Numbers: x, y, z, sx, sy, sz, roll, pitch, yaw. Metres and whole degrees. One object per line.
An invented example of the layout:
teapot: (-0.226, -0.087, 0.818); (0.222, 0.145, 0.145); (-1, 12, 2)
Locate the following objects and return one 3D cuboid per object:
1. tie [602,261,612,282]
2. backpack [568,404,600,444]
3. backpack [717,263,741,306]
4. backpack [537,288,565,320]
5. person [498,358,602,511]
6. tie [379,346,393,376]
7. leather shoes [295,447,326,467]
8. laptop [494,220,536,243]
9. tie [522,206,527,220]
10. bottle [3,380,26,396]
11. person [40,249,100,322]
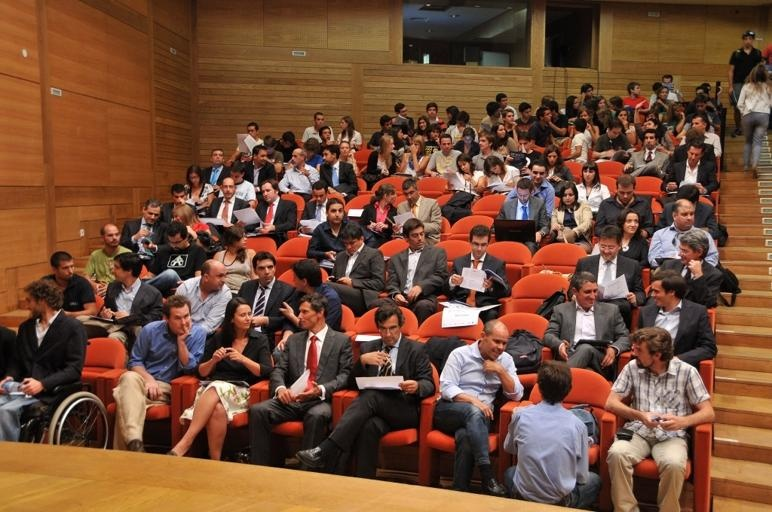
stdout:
tie: (2.349, 0.173, 6.666); (0.124, 0.210, 0.051); (2, -13, 26)
backpack: (1.669, 1.393, 5.175); (0.257, 0.341, 0.343); (-4, -7, 6)
backpack: (3.872, 0.343, 7.080); (0.307, 0.421, 0.154); (34, -31, -17)
backpack: (1.690, 0.491, 6.416); (0.107, 0.291, 0.233); (36, -26, 9)
person: (1.308, 1.411, 4.807); (0.692, 1.083, 0.457); (-4, 15, -19)
tie: (-0.011, 0.957, 5.645); (0.159, 0.205, 0.081); (0, -1, 5)
leather shoes: (-0.636, 1.731, 5.398); (0.299, 0.142, 0.108); (25, 8, -21)
laptop: (1.618, -0.316, 7.851); (0.439, 0.284, 0.302); (1, 9, 10)
tie: (1.835, -0.577, 8.302); (0.068, 0.230, 0.027); (2, -44, 12)
bottle: (-3.326, 1.185, 5.674); (0.219, 0.140, 0.146); (7, -4, 1)
person: (-3.567, 0.405, 6.910); (0.656, 0.864, 0.591); (-1, 12, -20)
